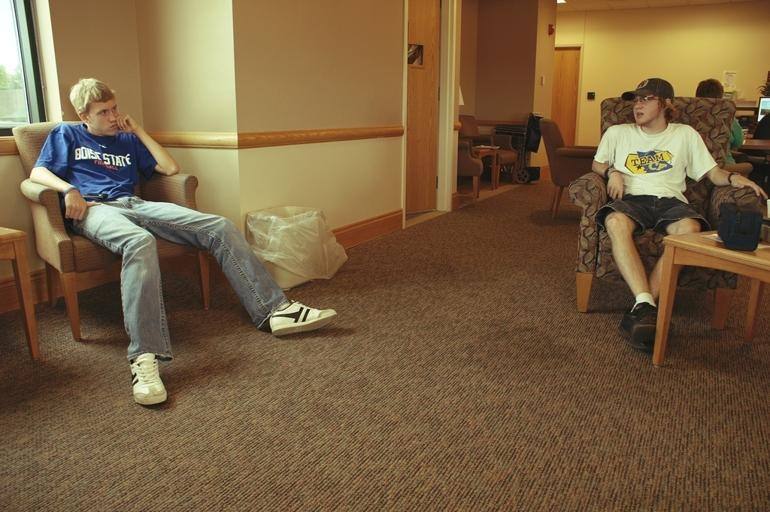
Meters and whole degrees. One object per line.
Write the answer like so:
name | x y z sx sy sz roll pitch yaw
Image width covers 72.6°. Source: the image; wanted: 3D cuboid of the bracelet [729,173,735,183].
bracelet | 1.962 -0.449 2.998 0.018 0.073 0.040 8 -4 13

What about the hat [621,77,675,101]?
hat | 1.602 -0.995 3.173 0.287 0.142 0.179 12 9 -6

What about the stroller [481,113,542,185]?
stroller | 1.824 -1.718 8.267 1.090 1.375 0.902 6 13 17

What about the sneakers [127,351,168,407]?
sneakers | -1.089 0.565 2.431 0.112 0.132 0.293 -5 14 -27

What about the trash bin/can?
trash bin/can | -0.596 -0.080 3.562 0.529 0.464 0.525 5 12 33

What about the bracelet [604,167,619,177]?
bracelet | 1.393 -0.535 3.247 0.048 0.030 0.067 17 48 22

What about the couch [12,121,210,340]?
couch | -1.555 -0.283 3.554 1.274 1.440 1.159 10 14 40

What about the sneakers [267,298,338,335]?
sneakers | -0.471 0.347 2.984 0.420 0.179 0.154 -13 -19 -15
